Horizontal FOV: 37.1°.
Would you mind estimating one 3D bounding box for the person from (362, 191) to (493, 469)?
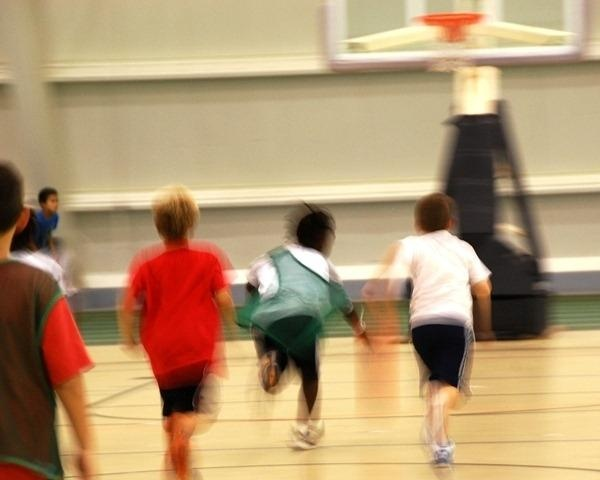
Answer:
[{"bbox_3d":[0.514,0.321,3.486,0.522,1.001,0.426,-4,4,-1],"label":"person"}]

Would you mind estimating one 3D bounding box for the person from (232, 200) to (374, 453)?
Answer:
[{"bbox_3d":[0.011,0.377,3.472,0.380,1.028,0.487,0,5,39],"label":"person"}]
